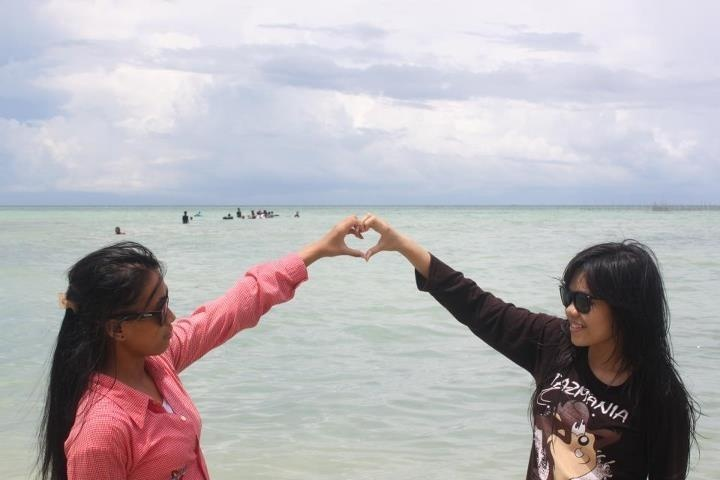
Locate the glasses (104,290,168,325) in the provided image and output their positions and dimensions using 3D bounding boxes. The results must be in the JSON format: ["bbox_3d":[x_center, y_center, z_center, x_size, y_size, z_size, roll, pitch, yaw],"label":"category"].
[{"bbox_3d":[-1.317,0.417,3.845,0.228,0.060,0.210,-3,15,-5],"label":"glasses"}]
